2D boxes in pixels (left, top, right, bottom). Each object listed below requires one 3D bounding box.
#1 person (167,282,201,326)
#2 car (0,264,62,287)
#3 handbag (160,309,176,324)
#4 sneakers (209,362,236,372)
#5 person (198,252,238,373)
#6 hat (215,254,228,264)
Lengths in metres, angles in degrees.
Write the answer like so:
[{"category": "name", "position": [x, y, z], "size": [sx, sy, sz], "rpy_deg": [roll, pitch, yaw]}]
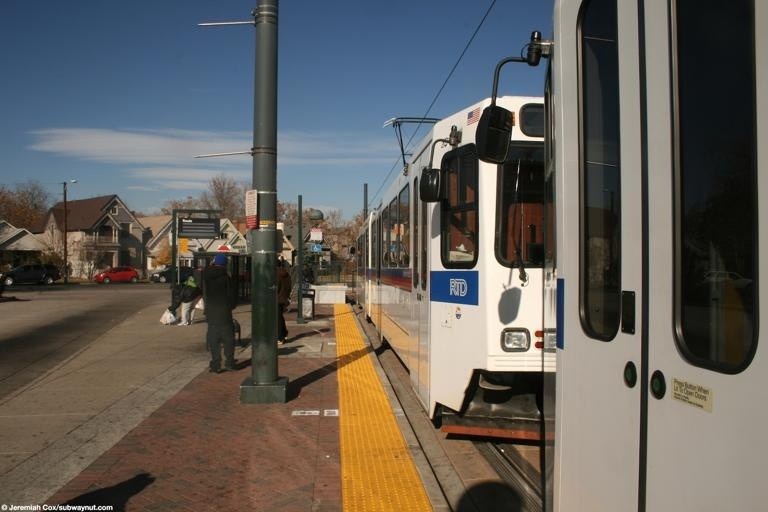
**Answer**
[{"category": "person", "position": [-5.445, 1.230, 18.488], "size": [0.783, 1.383, 3.661], "rpy_deg": [-2, 3, -18]}, {"category": "car", "position": [-25.661, 1.343, 49.806], "size": [3.382, 1.451, 1.944], "rpy_deg": [-3, 3, -37]}, {"category": "handbag", "position": [-6.104, 1.749, 19.353], "size": [0.372, 0.183, 0.519], "rpy_deg": [0, 7, -11]}, {"category": "sneakers", "position": [-2.724, 1.875, 11.479], "size": [0.399, 0.181, 0.135], "rpy_deg": [-10, 10, -26]}, {"category": "person", "position": [-2.765, 0.959, 11.447], "size": [0.514, 1.994, 0.461], "rpy_deg": [-1, 2, -17]}, {"category": "hat", "position": [-2.769, 0.049, 11.548], "size": [0.129, 0.158, 0.186], "rpy_deg": [4, 6, -4]}]
